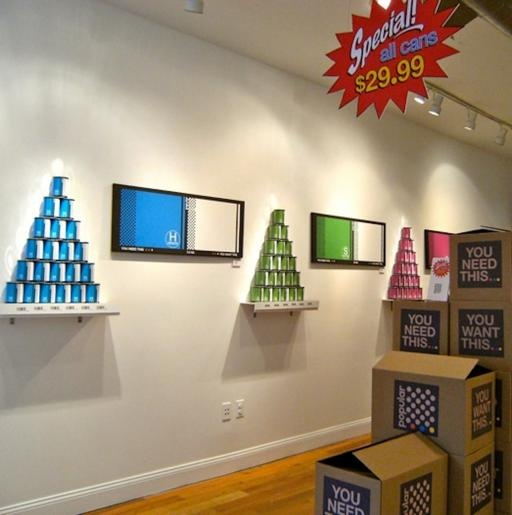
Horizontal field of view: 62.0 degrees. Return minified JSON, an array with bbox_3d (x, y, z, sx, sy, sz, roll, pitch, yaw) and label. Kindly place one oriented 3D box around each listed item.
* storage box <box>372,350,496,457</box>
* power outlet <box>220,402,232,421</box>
[{"bbox_3d":[0.732,0.605,1.771,0.218,0.478,0.425,3,-4,-32],"label":"storage box"},{"bbox_3d":[-0.236,1.195,3.304,0.017,0.216,0.125,0,-3,39],"label":"power outlet"}]
